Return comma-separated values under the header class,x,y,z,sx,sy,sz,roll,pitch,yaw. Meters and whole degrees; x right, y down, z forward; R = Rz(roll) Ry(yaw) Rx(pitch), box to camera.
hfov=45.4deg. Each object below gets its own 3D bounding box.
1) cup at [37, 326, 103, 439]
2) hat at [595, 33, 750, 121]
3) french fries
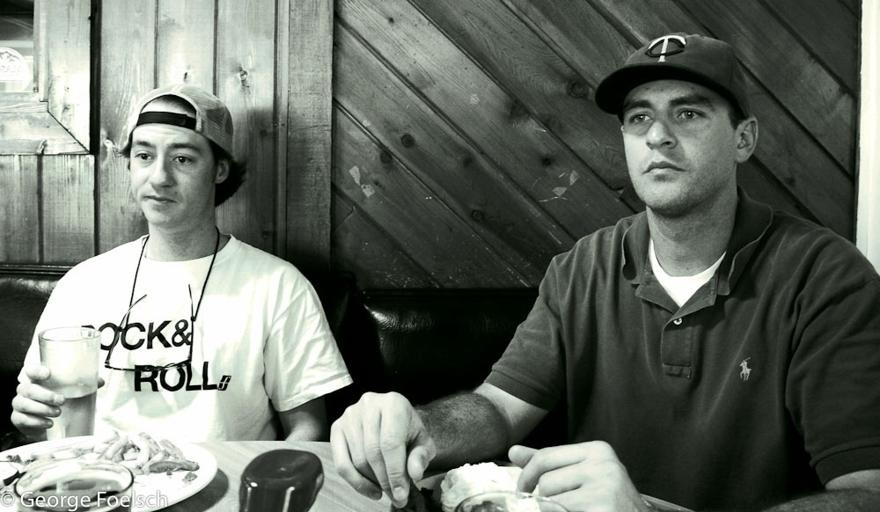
class,x,y,z,sx,sy,sz,roll,pitch,yaw
cup,-1.174,0.425,3.343,0.174,0.336,0.170,2,9,0
hat,0.782,-0.636,3.633,0.453,0.272,0.595,6,-13,9
french fries,-0.898,0.591,3.223,0.195,0.119,0.266,-3,-2,16
